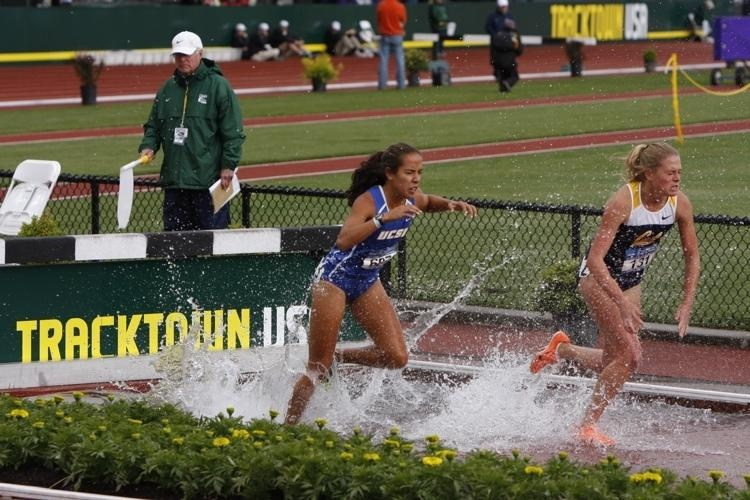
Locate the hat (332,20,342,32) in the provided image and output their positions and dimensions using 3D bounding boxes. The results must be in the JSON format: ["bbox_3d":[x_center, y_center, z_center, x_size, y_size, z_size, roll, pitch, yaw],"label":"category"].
[{"bbox_3d":[-1.183,-6.901,39.992,0.245,0.347,0.337,-4,28,-5],"label":"hat"}]

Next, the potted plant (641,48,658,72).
[{"bbox_3d":[8.527,-5.863,40.426,0.351,0.702,0.855,0,11,10],"label":"potted plant"}]

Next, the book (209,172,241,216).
[{"bbox_3d":[-1.739,-0.648,15.100,0.396,0.463,0.245,-7,11,-25],"label":"book"}]

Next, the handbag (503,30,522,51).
[{"bbox_3d":[3.260,-5.008,31.207,0.426,0.547,0.946,-1,11,7],"label":"handbag"}]

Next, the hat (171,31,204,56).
[{"bbox_3d":[-2.147,-2.389,15.042,0.238,0.215,0.347,1,4,10],"label":"hat"}]

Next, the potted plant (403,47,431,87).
[{"bbox_3d":[1.088,-4.978,35.362,0.911,1.180,0.877,1,3,-2],"label":"potted plant"}]

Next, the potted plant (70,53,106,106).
[{"bbox_3d":[-7.215,-4.293,32.914,0.686,1.292,1.408,-4,11,-12],"label":"potted plant"}]

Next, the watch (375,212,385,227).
[{"bbox_3d":[0.041,-0.280,12.148,0.092,0.116,0.092,7,44,-16],"label":"watch"}]

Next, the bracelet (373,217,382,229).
[{"bbox_3d":[0.030,-0.246,12.175,0.088,0.084,0.107,-23,27,14],"label":"bracelet"}]

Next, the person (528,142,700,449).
[{"bbox_3d":[2.474,0.392,12.703,1.316,2.804,1.145,-1,10,9],"label":"person"}]

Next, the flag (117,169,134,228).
[{"bbox_3d":[-2.951,-0.585,15.405,0.187,0.798,0.624,-4,10,-12],"label":"flag"}]

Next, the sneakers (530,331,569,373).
[{"bbox_3d":[1.860,1.135,13.849,0.143,0.428,0.183,37,13,-11],"label":"sneakers"}]

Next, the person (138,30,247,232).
[{"bbox_3d":[-2.099,-1.371,15.133,1.126,2.267,0.556,-2,10,-1],"label":"person"}]

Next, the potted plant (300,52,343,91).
[{"bbox_3d":[-1.367,-4.833,35.270,1.090,1.311,1.127,-1,5,-11],"label":"potted plant"}]
